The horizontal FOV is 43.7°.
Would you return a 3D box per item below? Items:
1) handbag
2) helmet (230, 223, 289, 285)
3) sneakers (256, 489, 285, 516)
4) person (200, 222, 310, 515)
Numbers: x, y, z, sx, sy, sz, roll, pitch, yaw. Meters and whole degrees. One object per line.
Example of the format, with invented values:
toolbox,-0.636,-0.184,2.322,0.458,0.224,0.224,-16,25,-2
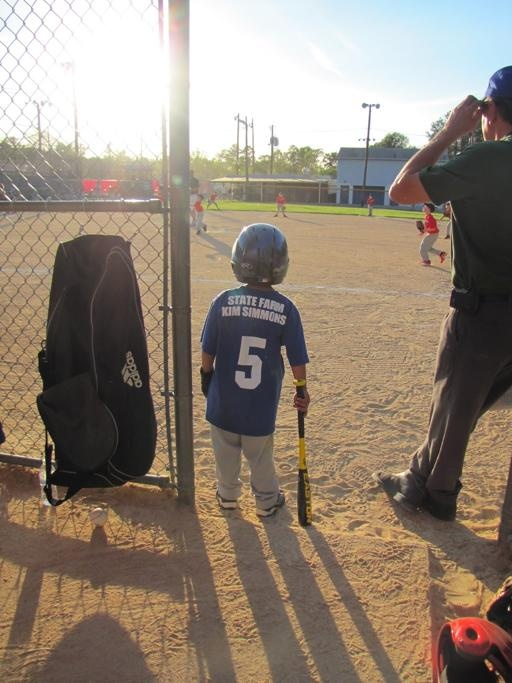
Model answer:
handbag,-0.657,0.123,2.603,0.471,1.093,0.241,-4,15,-22
helmet,0.012,-0.396,2.826,0.212,0.217,0.280,2,20,2
sneakers,0.068,0.763,3.066,0.062,0.080,0.174,6,12,19
person,-0.008,0.168,2.872,0.479,1.361,0.272,1,14,-3
